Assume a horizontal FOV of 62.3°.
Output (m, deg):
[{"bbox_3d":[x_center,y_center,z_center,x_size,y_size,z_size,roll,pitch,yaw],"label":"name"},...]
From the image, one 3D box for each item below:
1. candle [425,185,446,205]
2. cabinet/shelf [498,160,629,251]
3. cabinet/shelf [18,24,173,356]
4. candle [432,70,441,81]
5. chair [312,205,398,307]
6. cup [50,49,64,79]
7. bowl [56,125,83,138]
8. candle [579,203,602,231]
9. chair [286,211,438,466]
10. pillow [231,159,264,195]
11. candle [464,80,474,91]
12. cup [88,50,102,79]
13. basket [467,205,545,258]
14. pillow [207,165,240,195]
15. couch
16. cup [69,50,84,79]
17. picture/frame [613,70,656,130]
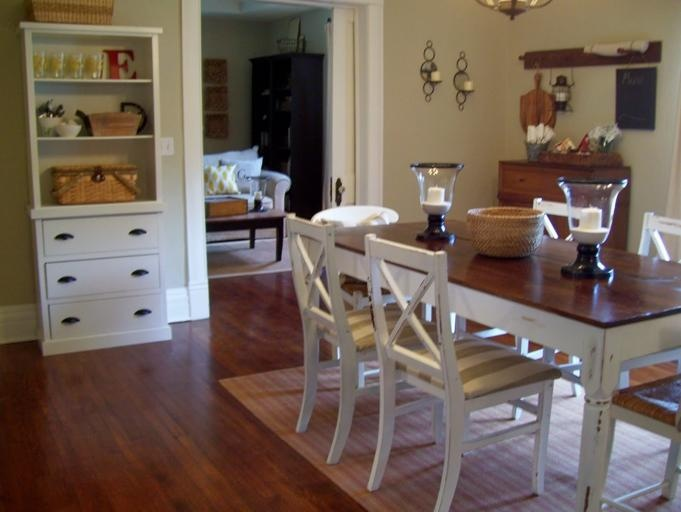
[{"bbox_3d":[0.495,-0.317,2.931,0.080,0.106,0.087,1,5,14],"label":"candle"},{"bbox_3d":[1.427,-0.326,3.505,0.274,0.734,0.711,-3,7,-29],"label":"cabinet/shelf"},{"bbox_3d":[-1.710,-0.474,3.995,0.831,2.265,0.445,-4,-1,-25],"label":"cabinet/shelf"},{"bbox_3d":[0.890,-1.681,5.252,0.080,0.100,0.084,10,16,34],"label":"candle"},{"bbox_3d":[0.109,-0.051,3.527,0.583,0.830,0.569,0,3,2],"label":"chair"},{"bbox_3d":[-1.872,-1.264,3.732,0.111,0.159,0.058,-13,18,-41],"label":"cup"},{"bbox_3d":[-1.852,-0.856,3.828,0.145,0.090,0.150,0,14,0],"label":"bowl"},{"bbox_3d":[1.017,-0.155,2.307,0.080,0.105,0.087,0,6,3],"label":"candle"},{"bbox_3d":[0.265,0.558,2.835,0.654,1.061,0.590,24,-4,-22],"label":"chair"},{"bbox_3d":[-1.243,-1.045,7.507,0.560,0.650,0.218,0,-1,29],"label":"pillow"},{"bbox_3d":[1.239,-1.648,5.458,0.090,0.117,0.096,-2,14,-19],"label":"candle"},{"bbox_3d":[-1.697,-1.321,3.894,0.109,0.189,0.262,-6,15,-22],"label":"cup"},{"bbox_3d":[0.763,-0.114,2.643,0.299,0.195,0.275,4,8,39],"label":"basket"},{"bbox_3d":[-1.559,-0.988,7.325,0.393,0.336,0.186,-5,14,-17],"label":"pillow"},{"bbox_3d":[-1.226,-1.085,7.606,1.009,0.815,0.997,-11,25,-27],"label":"couch"},{"bbox_3d":[-1.776,-1.293,3.829,0.088,0.170,0.202,-2,14,-6],"label":"cup"},{"bbox_3d":[2.465,-1.321,4.730,0.023,0.512,0.339,-31,31,-31],"label":"picture/frame"}]
